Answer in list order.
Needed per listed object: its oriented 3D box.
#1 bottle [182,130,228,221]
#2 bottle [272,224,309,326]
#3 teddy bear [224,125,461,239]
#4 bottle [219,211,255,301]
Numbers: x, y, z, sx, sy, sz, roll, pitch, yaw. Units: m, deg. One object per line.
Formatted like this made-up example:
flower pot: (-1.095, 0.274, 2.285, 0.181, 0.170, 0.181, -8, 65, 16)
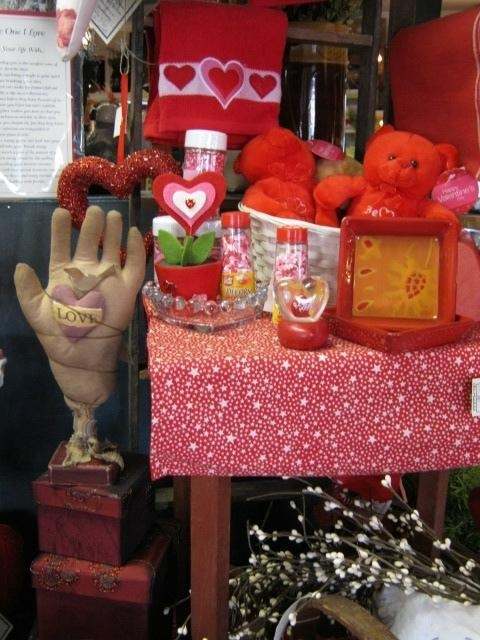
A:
bottle: (-0.064, -0.283, 0.921, 0.076, 0.084, 0.065, 3, 10, 2)
bottle: (0.070, -0.096, 0.785, 0.053, 0.081, 0.050, 2, 10, 0)
teddy bear: (0.176, -0.241, 0.920, 0.290, 0.157, 0.211, 16, 18, 25)
bottle: (-0.003, -0.098, 0.822, 0.055, 0.134, 0.123, 3, 10, 6)
